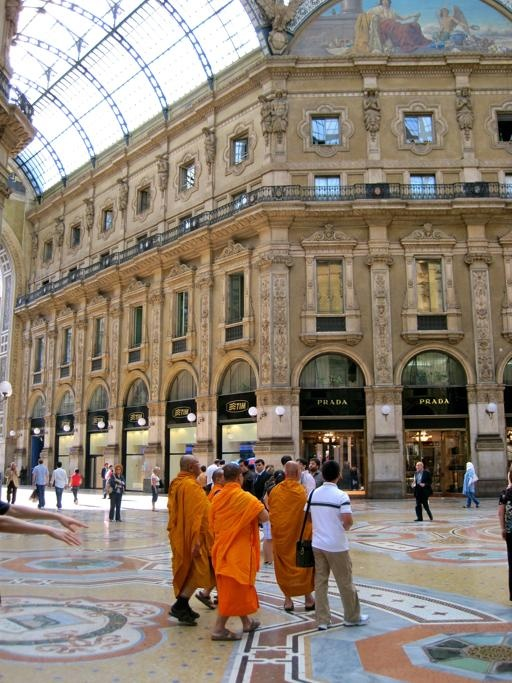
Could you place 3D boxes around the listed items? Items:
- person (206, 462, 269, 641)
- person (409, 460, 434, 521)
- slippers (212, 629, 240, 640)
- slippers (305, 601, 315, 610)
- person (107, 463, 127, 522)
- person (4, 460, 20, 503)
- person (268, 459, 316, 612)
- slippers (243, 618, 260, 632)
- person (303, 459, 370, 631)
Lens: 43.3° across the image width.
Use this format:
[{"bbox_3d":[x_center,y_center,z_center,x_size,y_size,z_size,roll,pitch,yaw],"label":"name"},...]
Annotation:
[{"bbox_3d":[-0.153,1.812,5.651,0.501,1.438,0.382,1,-14,-5],"label":"person"},{"bbox_3d":[4.276,3.861,16.733,0.452,1.500,2.798,-4,-14,13],"label":"person"},{"bbox_3d":[-0.256,2.435,5.337,0.175,0.067,0.090,1,-5,-11],"label":"slippers"},{"bbox_3d":[0.536,2.695,6.545,0.071,0.077,0.194,3,-26,-9],"label":"slippers"},{"bbox_3d":[-3.717,4.004,17.038,0.371,1.454,1.488,3,-14,-12],"label":"person"},{"bbox_3d":[-7.650,4.444,20.168,0.312,1.210,1.989,5,-15,-20],"label":"person"},{"bbox_3d":[0.371,1.973,6.540,0.455,1.444,0.418,-2,-3,5],"label":"person"},{"bbox_3d":[-0.052,2.486,5.656,0.092,0.066,0.173,2,-8,14],"label":"slippers"},{"bbox_3d":[0.696,1.814,5.795,0.498,1.438,0.575,-3,-14,8],"label":"person"}]
